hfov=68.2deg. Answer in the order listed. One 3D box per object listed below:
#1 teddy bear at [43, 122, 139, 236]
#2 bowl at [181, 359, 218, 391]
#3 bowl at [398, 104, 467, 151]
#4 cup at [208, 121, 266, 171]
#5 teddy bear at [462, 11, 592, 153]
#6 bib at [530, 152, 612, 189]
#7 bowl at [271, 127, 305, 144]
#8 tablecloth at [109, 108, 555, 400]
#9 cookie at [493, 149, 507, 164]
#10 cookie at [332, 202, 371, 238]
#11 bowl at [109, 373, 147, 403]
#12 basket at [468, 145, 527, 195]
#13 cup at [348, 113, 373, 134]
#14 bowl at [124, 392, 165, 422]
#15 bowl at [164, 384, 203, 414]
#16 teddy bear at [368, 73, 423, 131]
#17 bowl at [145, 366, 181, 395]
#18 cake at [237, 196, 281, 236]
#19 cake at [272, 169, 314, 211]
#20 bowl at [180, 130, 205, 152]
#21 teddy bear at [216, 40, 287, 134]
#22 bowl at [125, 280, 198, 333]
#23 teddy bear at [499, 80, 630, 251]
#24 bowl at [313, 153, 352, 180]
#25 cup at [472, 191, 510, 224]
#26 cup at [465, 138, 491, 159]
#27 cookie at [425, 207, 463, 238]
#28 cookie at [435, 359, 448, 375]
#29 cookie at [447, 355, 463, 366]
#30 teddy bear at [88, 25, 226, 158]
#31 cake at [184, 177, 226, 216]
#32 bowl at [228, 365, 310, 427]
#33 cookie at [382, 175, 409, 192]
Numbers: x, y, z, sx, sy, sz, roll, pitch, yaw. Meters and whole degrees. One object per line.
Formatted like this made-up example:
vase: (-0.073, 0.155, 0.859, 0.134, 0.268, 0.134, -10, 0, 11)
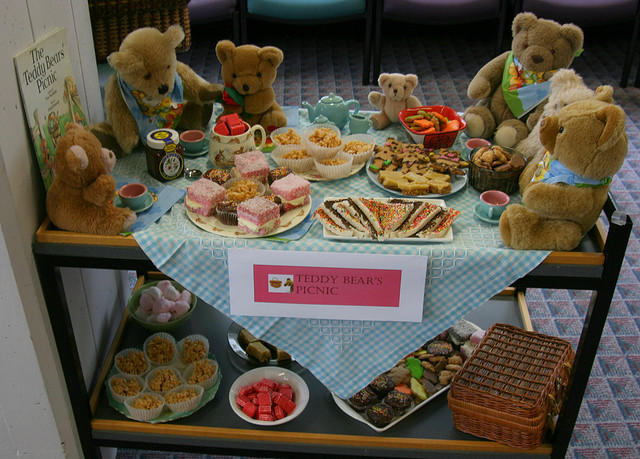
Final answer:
teddy bear: (-0.684, -0.119, 1.514, 0.296, 0.374, 0.324, -2, 40, -25)
bowl: (-0.467, 0.563, 1.863, 0.103, 0.050, 0.119, 3, 33, 5)
bowl: (0.455, -0.435, 1.970, 0.233, 0.113, 0.276, -13, 37, -18)
cup: (-0.295, -0.340, 1.872, 0.224, 0.195, 0.282, 5, 31, 10)
teddy bear: (0.823, -0.595, 1.947, 0.372, 0.492, 0.395, 19, 42, 16)
bib: (0.763, -0.176, 1.459, 0.182, 0.086, 0.147, 4, 31, -7)
bowl: (-0.132, -0.371, 1.888, 0.102, 0.034, 0.100, 2, 30, -1)
tablecloth: (0.060, 0.219, 1.623, 1.221, 0.542, 0.432, -4, 35, -6)
cookie: (0.636, -0.256, 1.670, 0.032, 0.014, 0.051, -5, 47, -8)
cookie: (0.099, -0.025, 1.491, 0.119, 0.028, 0.023, 49, 19, 3)
bowl: (-0.752, 0.609, 1.830, 0.124, 0.045, 0.129, 10, 8, -1)
basket: (0.599, -0.253, 1.699, 0.199, 0.182, 0.226, 5, 32, 13)
cup: (0.170, -0.433, 2.020, 0.096, 0.070, 0.072, 17, 40, 9)
bowl: (-0.653, 0.651, 1.755, 0.146, 0.064, 0.089, 9, 36, 13)
bowl: (-0.510, 0.625, 1.770, 0.104, 0.038, 0.109, 1, 24, 0)
teddy bear: (0.312, -0.572, 2.075, 0.193, 0.261, 0.187, -17, 30, -26)
bowl: (-0.659, 0.623, 1.921, 0.206, 0.193, 0.068, -1, 70, -15)
cake: (-0.182, -0.057, 1.471, 0.112, 0.089, 0.112, -8, 19, -25)
cake: (-0.107, -0.134, 1.618, 0.129, 0.083, 0.125, -29, 44, -35)
bowl: (-0.503, -0.354, 1.863, 0.066, 0.045, 0.092, 0, 31, 4)
teddy bear: (-0.302, -0.603, 1.998, 0.321, 0.382, 0.255, -1, 44, -8)
bowl: (-0.714, 0.349, 2.149, 0.267, 0.159, 0.291, 12, 30, -7)
teddy bear: (0.778, -0.209, 1.536, 0.314, 0.507, 0.384, 7, 30, 8)
bowl: (0.050, -0.235, 1.766, 0.146, 0.082, 0.107, -2, 35, -3)
cup: (0.575, -0.062, 1.581, 0.119, 0.058, 0.134, 12, 19, 22)
cup: (0.613, -0.333, 1.831, 0.084, 0.063, 0.091, -3, 43, 3)
cookie: (0.395, -0.041, 1.521, 0.076, 0.034, 0.134, 33, 22, 37)
cookie: (0.487, 0.549, 1.911, 0.035, 0.062, 0.016, 37, -6, -12)
cookie: (0.547, 0.534, 1.926, 0.040, 0.019, 0.046, -3, 12, 8)
teddy bear: (-0.729, -0.546, 1.973, 0.476, 0.589, 0.447, -24, 39, -37)
cake: (-0.387, -0.105, 1.576, 0.130, 0.081, 0.108, 25, 42, 32)
bowl: (-0.192, 0.635, 1.823, 0.293, 0.068, 0.259, -18, 39, -24)
cookie: (0.278, -0.159, 1.685, 0.058, 0.021, 0.060, 11, 40, -2)
